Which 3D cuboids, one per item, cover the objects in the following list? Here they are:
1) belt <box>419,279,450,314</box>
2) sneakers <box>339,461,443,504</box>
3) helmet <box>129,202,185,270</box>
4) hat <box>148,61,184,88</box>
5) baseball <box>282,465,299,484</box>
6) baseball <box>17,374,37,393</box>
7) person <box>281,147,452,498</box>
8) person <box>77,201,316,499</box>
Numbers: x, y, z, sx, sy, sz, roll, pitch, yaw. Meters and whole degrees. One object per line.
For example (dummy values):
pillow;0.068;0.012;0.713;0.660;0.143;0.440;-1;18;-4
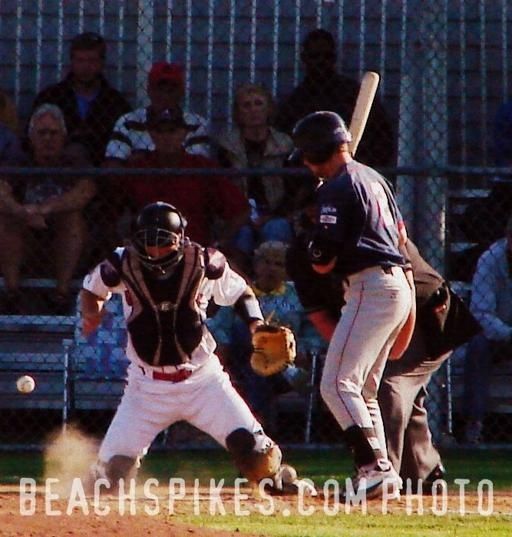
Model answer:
belt;0.932;0.137;6.863;0.115;0.056;0.151;-34;15;35
sneakers;0.712;1.034;6.573;0.671;0.283;0.225;1;-10;-10
helmet;-0.460;-0.165;6.689;0.262;0.340;0.311;1;32;7
hat;-0.585;-1.234;8.447;0.172;0.109;0.171;3;8;-1
baseball;0.166;1.033;6.792;0.067;0.087;0.087;-7;-16;9
baseball;-1.363;0.653;7.702;0.133;0.130;0.059;1;-2;-4
person;0.489;0.215;6.566;0.581;1.688;0.445;2;4;6
person;-0.326;0.457;7.214;1.504;1.697;0.675;-2;-8;-6
